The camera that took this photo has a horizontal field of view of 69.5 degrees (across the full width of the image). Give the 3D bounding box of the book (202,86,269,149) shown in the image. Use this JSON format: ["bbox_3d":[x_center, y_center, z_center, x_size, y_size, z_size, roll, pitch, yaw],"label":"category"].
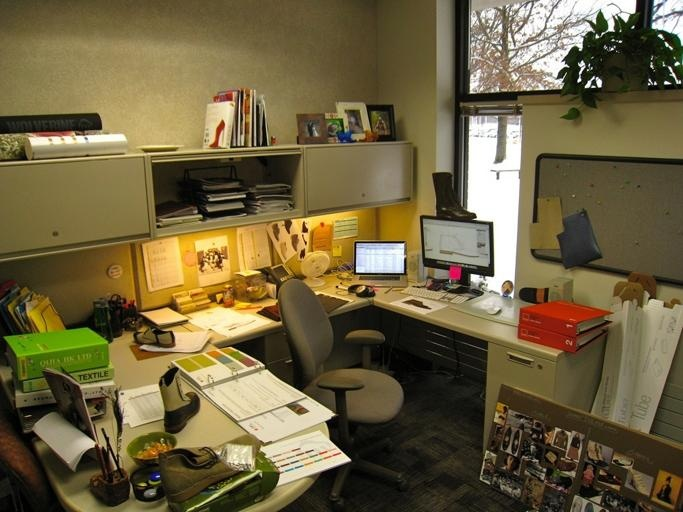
[{"bbox_3d":[-0.668,-0.862,3.409,0.505,0.525,0.401,2,5,14],"label":"book"}]

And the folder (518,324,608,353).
[{"bbox_3d":[1.370,0.477,2.943,0.571,0.132,0.228,-5,12,-5],"label":"folder"}]

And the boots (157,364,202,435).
[{"bbox_3d":[-0.762,0.664,2.333,0.126,0.264,0.277,-2,9,8],"label":"boots"}]

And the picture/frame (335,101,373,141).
[{"bbox_3d":[0.093,-1.062,3.889,0.291,0.344,0.035,-14,9,-36],"label":"picture/frame"}]

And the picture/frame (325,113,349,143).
[{"bbox_3d":[-0.042,-0.990,3.796,0.252,0.258,0.025,0,-1,-40],"label":"picture/frame"}]

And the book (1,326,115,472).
[{"bbox_3d":[-1.330,0.577,2.354,0.430,0.418,0.593,-9,25,-30],"label":"book"}]

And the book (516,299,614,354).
[{"bbox_3d":[1.294,0.402,2.939,0.349,0.154,0.344,10,15,41],"label":"book"}]

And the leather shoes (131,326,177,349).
[{"bbox_3d":[-1.131,0.493,3.047,0.309,0.127,0.116,8,15,25],"label":"leather shoes"}]

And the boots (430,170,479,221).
[{"bbox_3d":[0.883,-0.476,3.856,0.377,0.381,0.185,12,27,36],"label":"boots"}]

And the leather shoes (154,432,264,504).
[{"bbox_3d":[-0.480,0.801,1.980,0.460,0.206,0.152,-20,32,-40],"label":"leather shoes"}]

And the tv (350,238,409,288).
[{"bbox_3d":[0.317,0.047,4.035,0.484,0.344,0.336,2,6,7],"label":"tv"}]

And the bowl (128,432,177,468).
[{"bbox_3d":[-0.801,0.821,2.102,0.145,0.058,0.149,2,24,-1],"label":"bowl"}]

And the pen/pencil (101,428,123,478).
[{"bbox_3d":[-0.929,0.805,2.000,0.020,0.180,0.030,-21,-3,42],"label":"pen/pencil"}]

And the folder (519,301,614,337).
[{"bbox_3d":[1.346,0.353,2.951,0.273,0.070,0.280,11,18,42],"label":"folder"}]

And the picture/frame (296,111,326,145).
[{"bbox_3d":[-0.222,-0.953,3.671,0.226,0.223,0.080,-8,18,-27],"label":"picture/frame"}]
